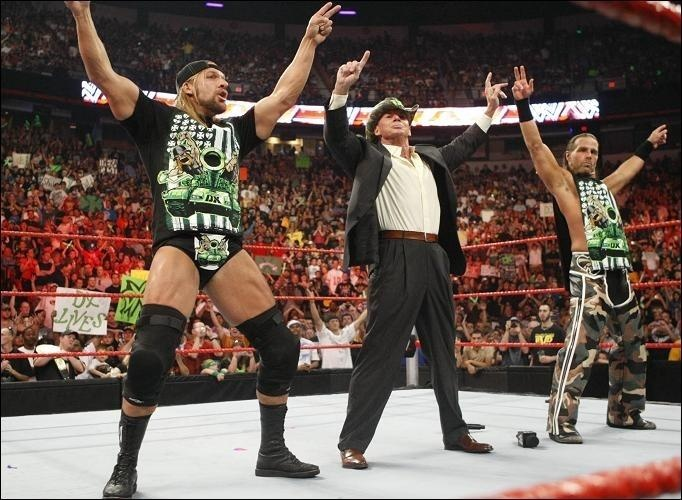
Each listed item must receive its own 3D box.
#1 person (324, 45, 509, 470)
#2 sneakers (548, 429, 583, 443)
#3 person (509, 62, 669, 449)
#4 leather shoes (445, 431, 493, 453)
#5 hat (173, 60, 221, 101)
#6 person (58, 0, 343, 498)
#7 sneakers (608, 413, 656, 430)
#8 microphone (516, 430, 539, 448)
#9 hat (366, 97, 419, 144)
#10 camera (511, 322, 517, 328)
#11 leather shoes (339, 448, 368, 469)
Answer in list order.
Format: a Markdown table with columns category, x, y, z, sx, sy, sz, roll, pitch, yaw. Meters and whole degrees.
| category | x | y | z | sx | sy | sz | roll | pitch | yaw |
| --- | --- | --- | --- | --- | --- | --- | --- | --- | --- |
| person | 0.396 | -0.022 | 3.685 | 1.064 | 1.939 | 0.695 | 1 | 1 | -22 |
| sneakers | 1.307 | 1.093 | 3.721 | 0.071 | 0.077 | 0.170 | 3 | -16 | -13 |
| person | 1.615 | -0.002 | 4.071 | 1.254 | 2.285 | 0.526 | 1 | 1 | -30 |
| leather shoes | 0.701 | 1.079 | 3.567 | 0.279 | 0.110 | 0.095 | -11 | -17 | 37 |
| hat | -0.765 | -0.905 | 3.282 | 0.215 | 0.083 | 0.178 | -28 | -3 | 2 |
| person | -0.671 | -0.104 | 3.107 | 1.249 | 1.630 | 0.480 | 1 | 1 | -23 |
| sneakers | 1.844 | 1.108 | 4.113 | 0.305 | 0.117 | 0.108 | -2 | -12 | 7 |
| microphone | 1.052 | 1.066 | 3.585 | 0.079 | 0.071 | 0.099 | 2 | -6 | -17 |
| hat | 0.268 | -0.855 | 3.899 | 0.258 | 0.124 | 0.306 | 23 | -59 | -40 |
| camera | 2.076 | 0.908 | 7.631 | 0.075 | 0.052 | 0.073 | 7 | -1 | -35 |
| leather shoes | 0.067 | 1.072 | 3.272 | 0.139 | 0.072 | 0.127 | 2 | 1 | 0 |
